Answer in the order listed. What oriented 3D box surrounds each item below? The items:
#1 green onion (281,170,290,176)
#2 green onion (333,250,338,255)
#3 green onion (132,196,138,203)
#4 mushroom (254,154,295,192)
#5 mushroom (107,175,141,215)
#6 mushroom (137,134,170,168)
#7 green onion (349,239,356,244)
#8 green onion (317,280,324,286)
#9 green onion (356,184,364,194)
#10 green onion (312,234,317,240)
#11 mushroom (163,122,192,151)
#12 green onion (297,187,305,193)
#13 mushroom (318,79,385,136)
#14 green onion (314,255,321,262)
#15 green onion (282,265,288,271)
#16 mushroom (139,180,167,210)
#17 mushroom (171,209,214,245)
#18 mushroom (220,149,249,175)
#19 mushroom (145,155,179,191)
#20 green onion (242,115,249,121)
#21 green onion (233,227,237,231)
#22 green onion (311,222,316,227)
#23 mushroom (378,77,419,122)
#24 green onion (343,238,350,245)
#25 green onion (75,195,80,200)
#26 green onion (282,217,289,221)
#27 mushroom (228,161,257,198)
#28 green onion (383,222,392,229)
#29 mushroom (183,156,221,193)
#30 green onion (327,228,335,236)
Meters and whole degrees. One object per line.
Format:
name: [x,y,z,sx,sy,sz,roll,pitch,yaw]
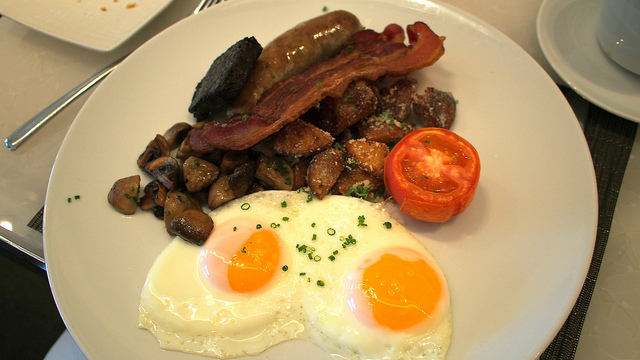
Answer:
green onion: [-0.295,-0.066,4.297,0.053,0.013,0.033,-17,77,-14]
green onion: [0.123,0.580,4.173,0.038,0.012,0.025,-8,81,-3]
green onion: [-1.512,0.154,4.237,0.041,0.012,0.042,8,74,-30]
mushroom: [-0.369,-0.069,4.295,0.300,0.101,0.303,0,72,-9]
mushroom: [-1.615,0.113,4.265,0.239,0.088,0.324,3,81,-1]
mushroom: [-1.370,-0.256,4.319,0.262,0.081,0.273,2,75,38]
green onion: [0.255,0.492,4.192,0.037,0.011,0.037,6,82,-13]
green onion: [0.005,0.817,4.128,0.050,0.012,0.039,1,81,-2]
green onion: [0.332,0.066,4.305,0.071,0.021,0.072,-4,85,7]
green onion: [-0.045,0.455,4.202,0.032,0.032,0.058,2,81,1]
mushroom: [-1.206,-0.393,4.381,0.191,0.080,0.249,28,80,-3]
green onion: [-0.160,0.079,4.305,0.043,0.013,0.043,2,74,-3]
mushroom: [0.252,-0.612,4.329,0.517,0.166,0.388,-24,81,9]
green onion: [-0.022,0.626,4.165,0.038,0.008,0.039,6,72,-4]
green onion: [-0.281,0.701,4.165,0.040,0.008,0.045,0,81,-2]
mushroom: [-1.367,0.125,4.260,0.231,0.071,0.225,0,78,17]
mushroom: [-1.006,0.372,4.143,0.284,0.131,0.287,29,75,-3]
mushroom: [-0.739,-0.135,4.440,0.243,0.316,0.116,3,92,-9]
mushroom: [-1.268,-0.082,4.244,0.278,0.230,0.261,-6,112,-4]
green onion: [-0.621,-0.520,4.309,0.052,0.018,0.053,2,83,-4]
green onion: [-0.694,0.394,4.224,0.029,0.008,0.029,2,80,-6]
green onion: [-0.057,0.360,4.229,0.020,0.004,0.036,3,81,-1]
mushroom: [0.665,-0.733,4.552,0.420,0.374,0.333,1,117,8]
green onion: [0.214,0.491,4.191,0.044,0.018,0.052,3,81,-1]
green onion: [-1.973,0.138,4.215,0.031,0.008,0.028,1,76,-16]
green onion: [-0.284,0.314,4.245,0.039,0.006,0.029,7,81,-1]
mushroom: [-0.647,-0.020,4.272,0.211,0.073,0.287,24,96,-31]
green onion: [0.556,0.366,4.227,0.062,0.015,0.055,-7,81,-3]
mushroom: [-0.965,-0.069,4.280,0.283,0.085,0.286,-27,82,-10]
green onion: [0.092,0.415,4.216,0.050,0.011,0.050,4,77,-2]
